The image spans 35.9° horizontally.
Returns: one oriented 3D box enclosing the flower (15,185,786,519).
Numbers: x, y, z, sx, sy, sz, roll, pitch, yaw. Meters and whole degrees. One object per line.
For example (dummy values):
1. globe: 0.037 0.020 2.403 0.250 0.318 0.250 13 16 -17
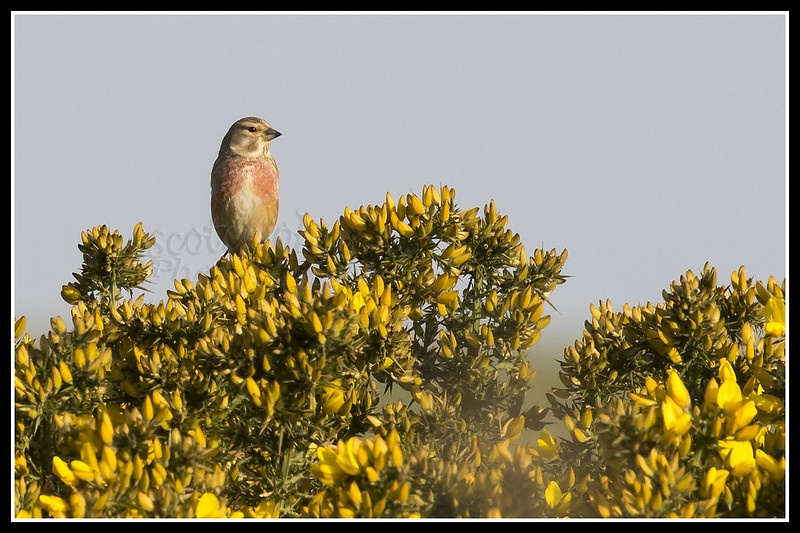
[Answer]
1. flower: -0.037 0.581 6.245 2.811 2.094 1.102 -4 -70 -5
